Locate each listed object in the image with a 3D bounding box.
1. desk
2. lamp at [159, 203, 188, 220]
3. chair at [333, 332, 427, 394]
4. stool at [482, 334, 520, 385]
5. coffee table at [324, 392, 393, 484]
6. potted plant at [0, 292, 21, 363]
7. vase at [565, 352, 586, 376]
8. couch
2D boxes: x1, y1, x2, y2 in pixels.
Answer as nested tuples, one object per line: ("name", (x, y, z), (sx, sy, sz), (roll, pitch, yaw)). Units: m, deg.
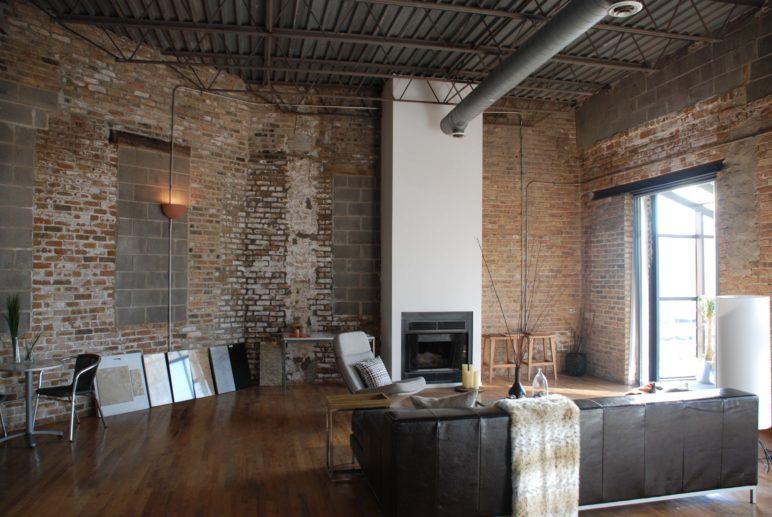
("desk", (-0.856, 1.982, 10.873), (1.101, 1.172, 2.076), (-7, -6, 14))
("lamp", (-3.484, -0.781, 9.624), (0.456, 0.285, 0.197), (-8, 13, -43))
("chair", (-0.094, 1.462, 8.355), (1.297, 0.880, 0.843), (-5, -9, 36))
("stool", (2.193, 1.870, 11.101), (0.876, 1.161, 0.839), (0, -4, -2))
("coffee table", (-0.515, 2.183, 7.358), (1.166, 1.135, 0.891), (1, -4, -15))
("potted plant", (-5.146, 0.963, 8.039), (0.216, 0.870, 0.613), (-6, 12, -33))
("vase", (3.688, 2.018, 11.245), (0.414, 0.393, 0.420), (0, -6, 13))
("couch", (2.044, 2.082, 6.414), (4.222, 1.165, 0.568), (0, 10, -10))
